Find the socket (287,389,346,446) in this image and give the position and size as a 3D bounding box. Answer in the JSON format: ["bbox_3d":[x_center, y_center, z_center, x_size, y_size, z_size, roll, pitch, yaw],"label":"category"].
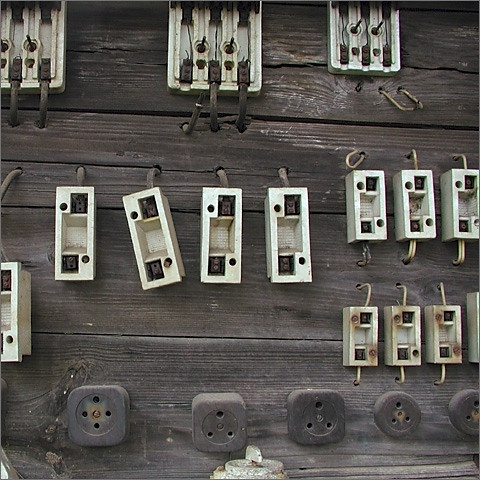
[{"bbox_3d":[0.240,0.571,2.510,0.127,0.150,0.050,-1,-6,-2],"label":"socket"}]

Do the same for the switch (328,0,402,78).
[{"bbox_3d":[0.426,-0.691,2.729,0.207,0.275,0.234,-2,-2,-3],"label":"switch"}]

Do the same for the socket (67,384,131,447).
[{"bbox_3d":[-0.447,0.556,2.459,0.135,0.172,0.048,-1,-6,1],"label":"socket"}]

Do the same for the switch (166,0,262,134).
[{"bbox_3d":[-0.085,-0.593,2.631,0.317,0.444,0.108,0,-9,-6],"label":"switch"}]

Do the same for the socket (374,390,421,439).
[{"bbox_3d":[0.507,0.573,2.546,0.091,0.115,0.033,-19,-6,-6],"label":"socket"}]
